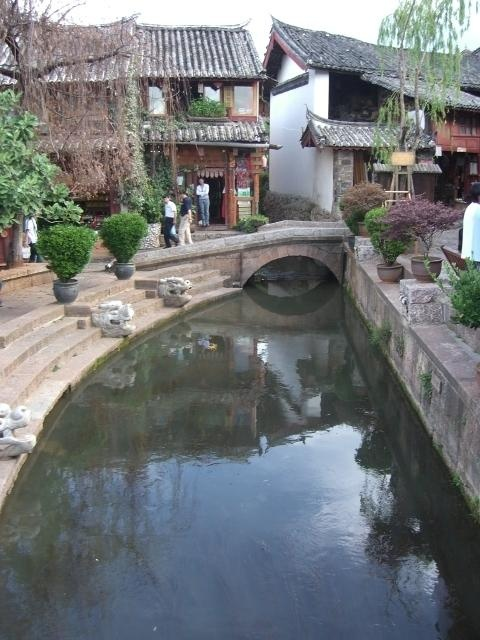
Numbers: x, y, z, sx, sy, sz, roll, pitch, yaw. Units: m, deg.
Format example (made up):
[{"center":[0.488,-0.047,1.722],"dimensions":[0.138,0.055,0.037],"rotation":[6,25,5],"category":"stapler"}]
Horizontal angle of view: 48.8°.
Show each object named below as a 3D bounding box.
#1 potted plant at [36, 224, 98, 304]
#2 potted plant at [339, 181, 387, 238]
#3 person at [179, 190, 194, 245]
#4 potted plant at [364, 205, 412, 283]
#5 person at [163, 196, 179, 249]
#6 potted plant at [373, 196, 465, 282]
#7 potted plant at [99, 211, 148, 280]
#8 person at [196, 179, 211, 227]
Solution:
[{"center":[-3.070,-0.936,9.458],"dimensions":[1.101,1.342,1.092],"rotation":[-2,-5,13],"category":"potted plant"},{"center":[3.739,-3.206,15.195],"dimensions":[1.358,1.566,1.366],"rotation":[-4,14,-7],"category":"potted plant"},{"center":[-1.655,-3.081,16.067],"dimensions":[0.369,1.572,1.265],"rotation":[0,7,-8],"category":"person"},{"center":[2.935,-1.499,10.373],"dimensions":[0.908,1.503,0.824],"rotation":[-12,15,-12],"category":"potted plant"},{"center":[-2.037,-2.906,15.793],"dimensions":[0.427,1.448,1.471],"rotation":[0,8,-7],"category":"person"},{"center":[3.268,-1.467,9.238],"dimensions":[1.403,1.526,1.385],"rotation":[8,21,37],"category":"potted plant"},{"center":[-2.647,-1.679,12.101],"dimensions":[0.835,1.537,0.652],"rotation":[5,8,29],"category":"potted plant"},{"center":[-1.338,-4.224,19.068],"dimensions":[0.466,1.747,0.989],"rotation":[0,7,-6],"category":"person"}]
